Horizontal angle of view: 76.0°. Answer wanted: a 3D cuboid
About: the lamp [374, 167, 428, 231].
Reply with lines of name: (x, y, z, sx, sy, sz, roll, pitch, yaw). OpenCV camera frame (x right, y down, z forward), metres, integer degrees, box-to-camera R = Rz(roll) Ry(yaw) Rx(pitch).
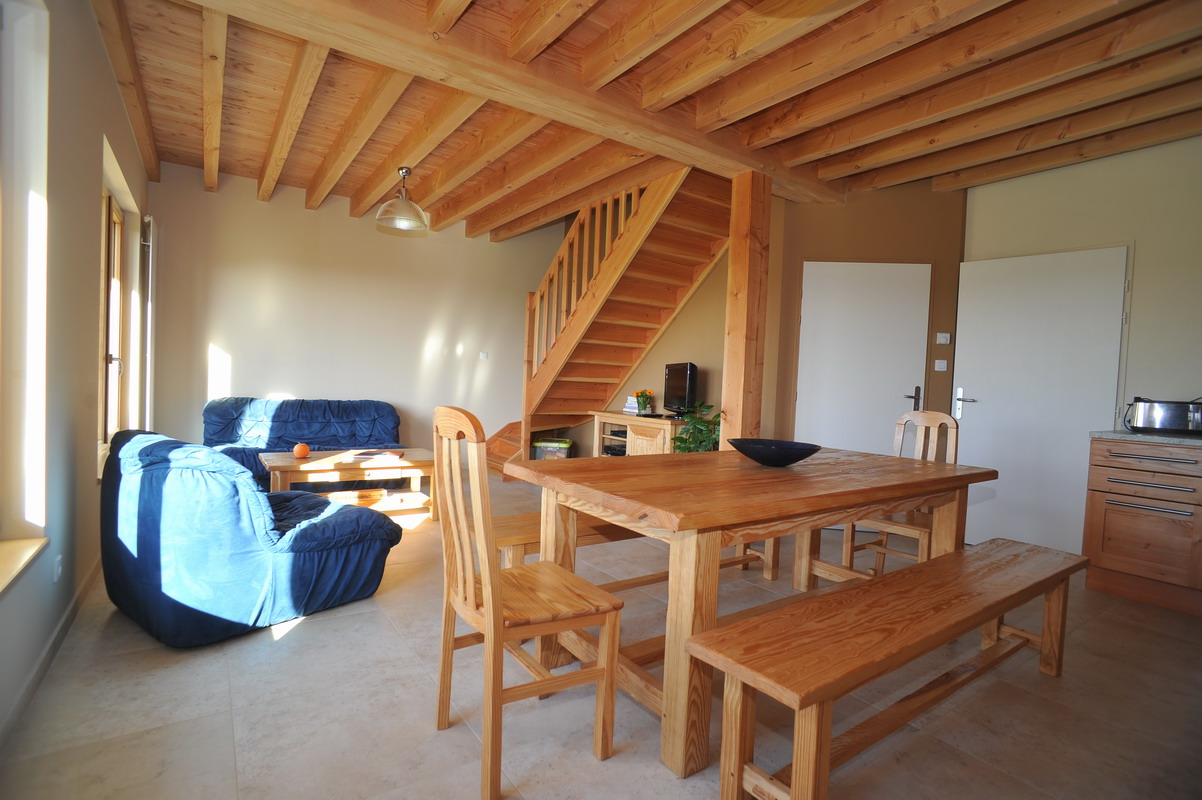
lamp: (-1.488, -1.434, 5.773, 0.368, 0.315, 0.376, 0, 3, -16)

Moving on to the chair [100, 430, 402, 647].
chair: (-2.190, 0.646, 4.772, 1.388, 0.838, 1.424, 0, 2, -38)

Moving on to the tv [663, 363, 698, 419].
tv: (0.771, -0.096, 7.428, 0.233, 0.519, 0.562, 10, -5, -21)

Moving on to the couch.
couch: (-2.834, 0.611, 7.329, 1.800, 0.722, 0.851, 1, 4, -36)
